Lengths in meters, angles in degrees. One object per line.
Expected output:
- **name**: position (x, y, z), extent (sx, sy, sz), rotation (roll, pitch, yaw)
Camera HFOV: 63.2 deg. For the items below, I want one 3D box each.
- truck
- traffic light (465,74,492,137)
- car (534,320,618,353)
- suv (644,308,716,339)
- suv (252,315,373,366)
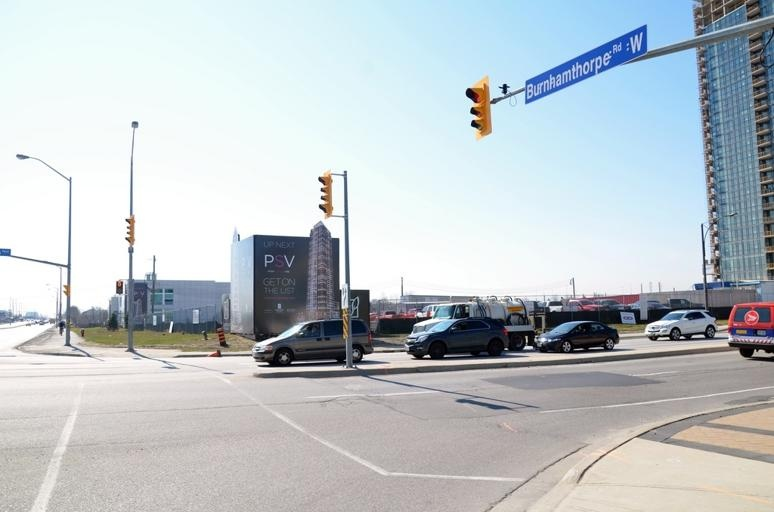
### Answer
- **truck**: position (5.429, 3.598, 35.032), extent (7.335, 3.610, 3.599), rotation (3, -8, -16)
- **traffic light**: position (2.497, -4.039, 17.069), extent (0.570, 1.607, 0.346), rotation (-4, -9, 21)
- **car**: position (9.333, 4.053, 31.303), extent (4.351, 1.486, 1.741), rotation (2, -3, -29)
- **suv**: position (18.655, 4.364, 39.652), extent (4.548, 1.860, 2.023), rotation (2, -3, -27)
- **suv**: position (-3.068, 3.667, 26.938), extent (4.688, 1.958, 0.962), rotation (2, -9, -15)
